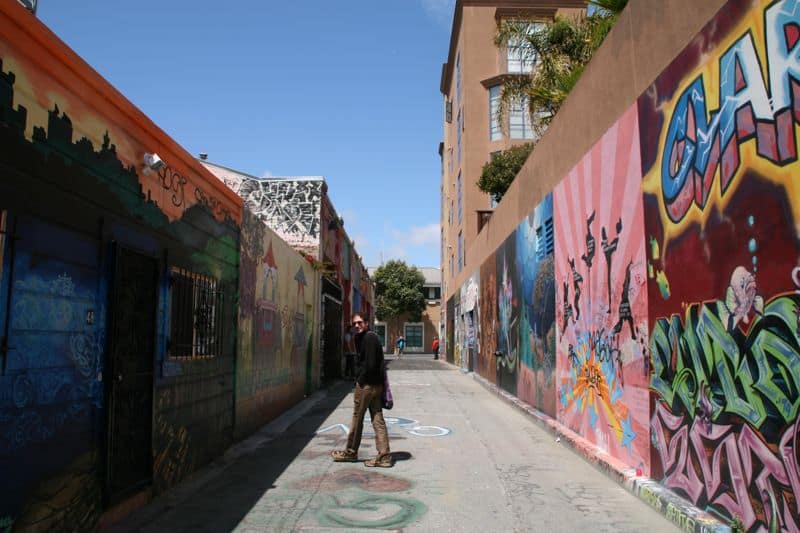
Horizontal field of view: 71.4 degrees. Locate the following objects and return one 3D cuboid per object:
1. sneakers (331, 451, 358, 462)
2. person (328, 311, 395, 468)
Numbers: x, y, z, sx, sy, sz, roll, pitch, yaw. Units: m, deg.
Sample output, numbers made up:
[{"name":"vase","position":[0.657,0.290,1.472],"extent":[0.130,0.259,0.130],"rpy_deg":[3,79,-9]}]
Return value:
[{"name":"sneakers","position":[-0.903,3.018,8.897],"extent":[0.285,0.149,0.196],"rpy_deg":[8,-12,5]},{"name":"person","position":[-0.580,1.952,9.118],"extent":[0.917,2.345,1.079],"rpy_deg":[1,-3,-10]}]
